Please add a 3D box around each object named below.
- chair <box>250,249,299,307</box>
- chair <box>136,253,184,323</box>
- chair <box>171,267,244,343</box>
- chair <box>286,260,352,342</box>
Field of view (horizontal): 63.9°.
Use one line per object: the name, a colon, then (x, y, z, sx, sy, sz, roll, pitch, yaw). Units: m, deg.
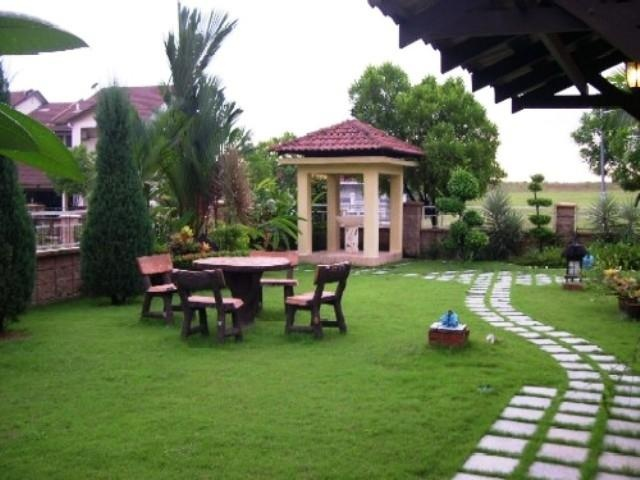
chair: (-0.863, 0.804, 9.924, 1.044, 1.250, 1.185, 0, -3, -34)
chair: (-2.753, 0.844, 9.143, 0.627, 1.137, 0.904, -3, 2, 13)
chair: (-1.671, 0.925, 7.631, 0.836, 1.117, 0.723, 0, 4, 22)
chair: (-0.030, 0.883, 7.926, 0.622, 1.167, 0.954, 7, 5, 33)
